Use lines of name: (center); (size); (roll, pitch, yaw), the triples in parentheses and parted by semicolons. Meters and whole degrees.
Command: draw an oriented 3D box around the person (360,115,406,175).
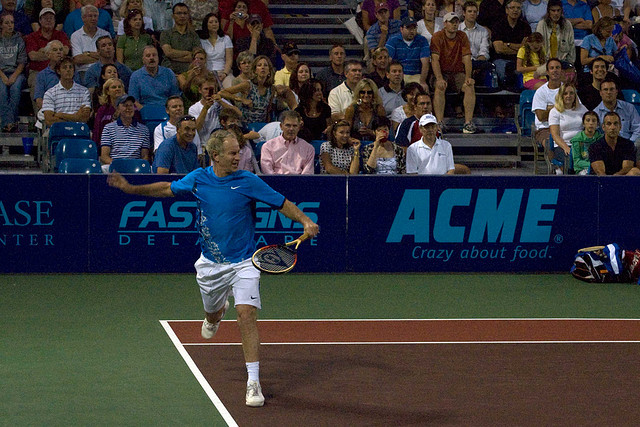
person: (1.137, -1.235, 20.138); (0.856, 1.185, 1.321); (0, -5, 9)

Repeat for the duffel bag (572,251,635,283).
duffel bag: (4.813, 0.930, 18.818); (0.666, 0.507, 1.117); (-2, -2, 3)

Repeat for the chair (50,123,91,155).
chair: (-4.935, -1.391, 21.242); (0.906, 0.857, 0.777); (0, 4, -15)

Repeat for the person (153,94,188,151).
person: (-2.797, -1.740, 19.976); (0.617, 1.234, 0.657); (2, 30, -5)

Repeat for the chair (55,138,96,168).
chair: (-4.640, -1.170, 20.433); (0.660, 0.545, 0.604); (-1, 13, -14)

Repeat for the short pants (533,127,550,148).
short pants: (4.474, -1.555, 21.831); (0.211, 0.360, 0.558); (1, -5, -6)

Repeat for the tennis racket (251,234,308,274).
tennis racket: (-0.617, 0.594, 14.476); (0.596, 0.407, 0.362); (3, -6, -20)

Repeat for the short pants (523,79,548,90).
short pants: (4.616, -2.792, 23.344); (0.604, 0.264, 0.231); (-3, -7, 34)
